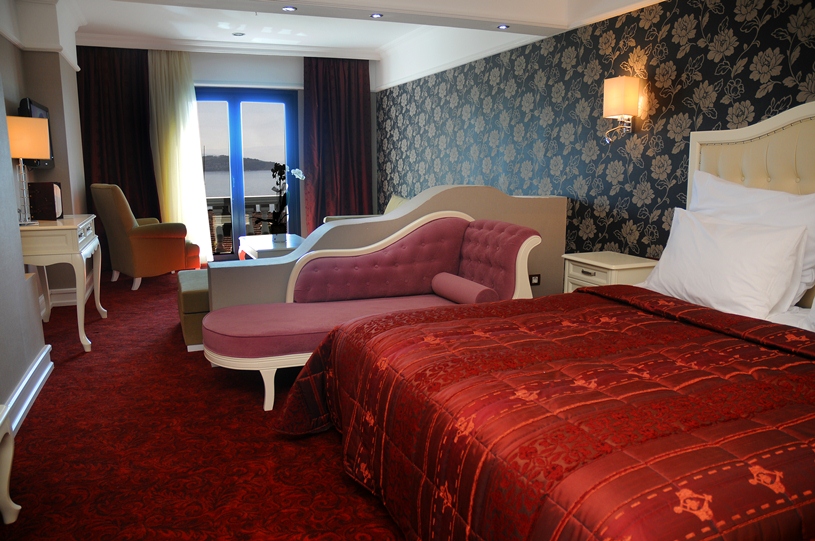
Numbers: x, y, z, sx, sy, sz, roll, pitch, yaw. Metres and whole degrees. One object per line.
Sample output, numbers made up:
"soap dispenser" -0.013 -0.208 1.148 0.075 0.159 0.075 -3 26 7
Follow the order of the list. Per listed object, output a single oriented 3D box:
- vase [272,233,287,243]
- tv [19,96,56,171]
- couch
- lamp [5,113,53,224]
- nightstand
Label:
"vase" -1.588 -0.396 6.392 0.176 0.172 0.179 3 5 29
"tv" -3.569 -1.348 5.144 0.394 0.673 0.207 11 18 19
"couch" -0.294 0.252 3.716 2.268 1.125 0.963 -4 10 -23
"lamp" -3.159 -0.851 4.334 0.295 0.865 0.941 -10 16 -34
"nightstand" 1.570 -0.011 4.067 0.373 0.515 0.508 -1 9 -22
